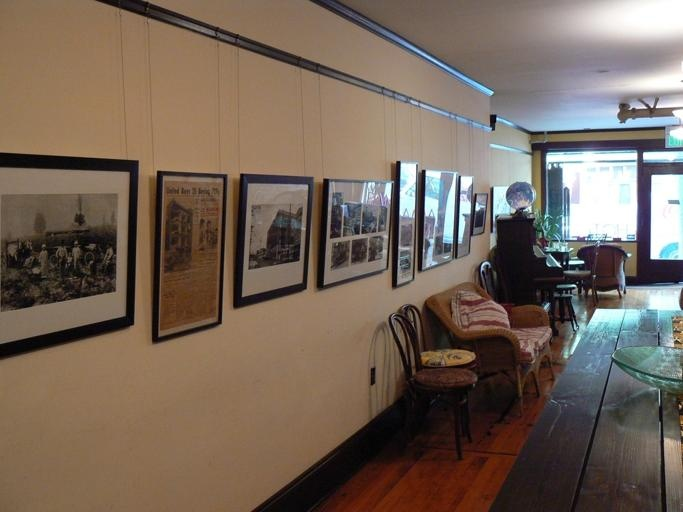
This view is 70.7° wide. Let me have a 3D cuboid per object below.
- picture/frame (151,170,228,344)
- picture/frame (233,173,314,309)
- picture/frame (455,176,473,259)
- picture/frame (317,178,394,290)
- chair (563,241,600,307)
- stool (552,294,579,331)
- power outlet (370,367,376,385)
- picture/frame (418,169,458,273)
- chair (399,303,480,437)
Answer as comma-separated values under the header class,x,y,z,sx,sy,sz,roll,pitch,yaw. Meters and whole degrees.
class,x,y,z,sx,sy,sz,roll,pitch,yaw
picture/frame,-0.690,-0.010,2.184,0.086,0.728,0.383,1,6,36
picture/frame,-0.387,-0.096,2.626,0.051,0.817,0.693,6,7,28
picture/frame,1.341,-0.450,5.315,0.037,1.036,0.833,4,5,26
picture/frame,0.076,-0.162,3.332,0.029,0.596,0.770,3,5,27
chair,4.018,0.271,8.475,0.858,1.291,0.934,1,4,27
stool,3.285,0.844,7.106,0.342,0.524,0.374,-7,8,31
power outlet,0.234,0.897,3.625,0.008,0.139,0.092,0,6,27
picture/frame,0.912,-0.357,4.640,0.069,1.087,0.939,3,5,24
chair,0.729,0.931,3.803,0.617,1.016,0.963,-2,6,13
